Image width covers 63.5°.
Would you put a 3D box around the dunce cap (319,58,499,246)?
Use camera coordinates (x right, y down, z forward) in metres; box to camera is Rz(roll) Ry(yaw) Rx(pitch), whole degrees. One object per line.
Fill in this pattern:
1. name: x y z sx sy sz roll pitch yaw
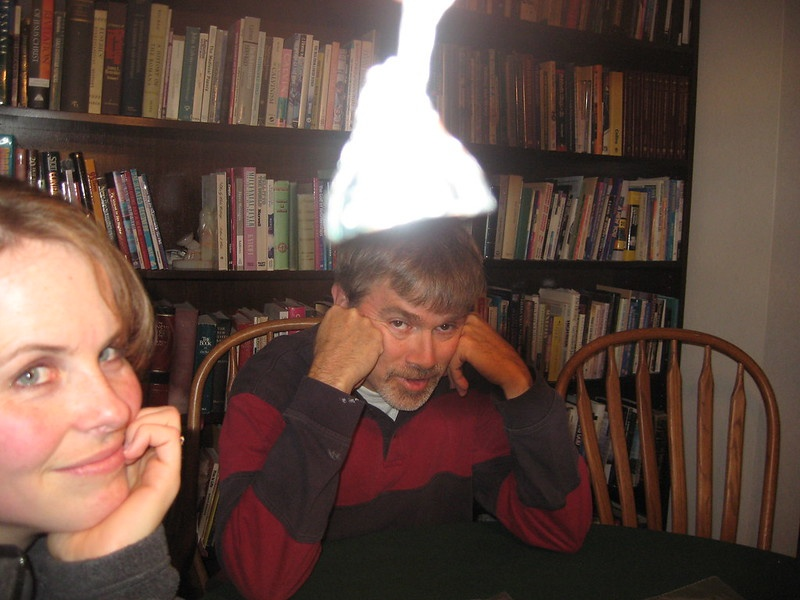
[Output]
1. dunce cap: 0.034 -0.492 1.924 0.463 0.603 0.749 1 8 6

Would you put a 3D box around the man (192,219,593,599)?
1. man: 0.048 0.253 1.832 1.159 1.208 0.716 -2 -1 -22
